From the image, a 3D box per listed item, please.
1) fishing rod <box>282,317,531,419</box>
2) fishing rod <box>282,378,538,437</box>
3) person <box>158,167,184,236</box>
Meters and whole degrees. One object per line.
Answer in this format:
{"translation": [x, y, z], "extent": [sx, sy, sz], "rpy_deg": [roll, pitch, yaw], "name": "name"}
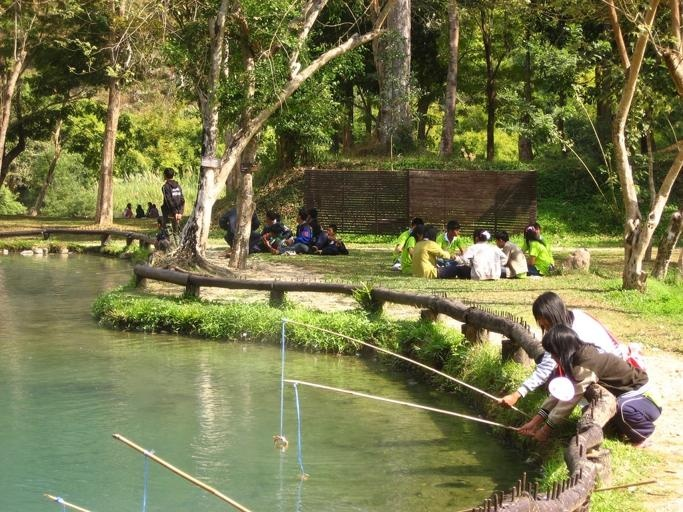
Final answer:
{"translation": [1.120, 1.863, 14.640], "extent": [3.889, 0.172, 0.277], "rpy_deg": [26, 36, 36], "name": "fishing rod"}
{"translation": [1.039, 2.305, 13.547], "extent": [4.519, 0.168, 0.376], "rpy_deg": [10, -14, 24], "name": "fishing rod"}
{"translation": [-4.358, -1.347, 23.288], "extent": [0.803, 1.752, 0.537], "rpy_deg": [0, 0, 41], "name": "person"}
